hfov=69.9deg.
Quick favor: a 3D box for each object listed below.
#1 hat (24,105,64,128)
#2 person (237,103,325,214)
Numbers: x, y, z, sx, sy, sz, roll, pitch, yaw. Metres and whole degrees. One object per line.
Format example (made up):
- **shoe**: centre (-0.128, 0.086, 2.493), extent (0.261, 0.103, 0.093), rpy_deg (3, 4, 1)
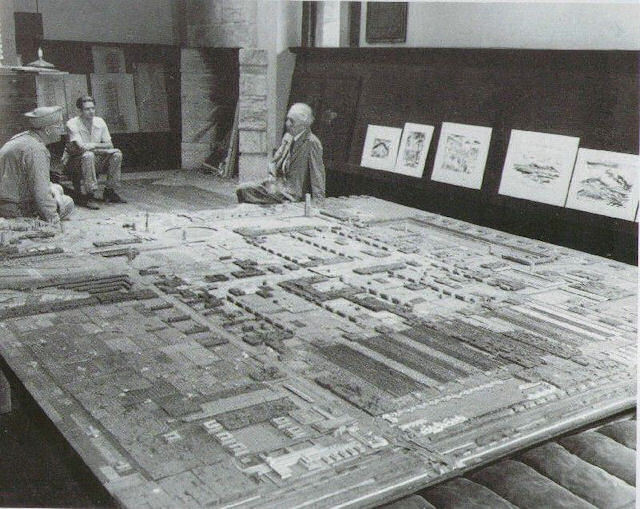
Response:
- **hat**: centre (-4.261, -2.157, 7.144), extent (0.357, 0.164, 0.478), rpy_deg (22, 28, 38)
- **person**: centre (-0.657, -1.996, 9.102), extent (1.484, 1.931, 1.067), rpy_deg (-1, 20, -9)
